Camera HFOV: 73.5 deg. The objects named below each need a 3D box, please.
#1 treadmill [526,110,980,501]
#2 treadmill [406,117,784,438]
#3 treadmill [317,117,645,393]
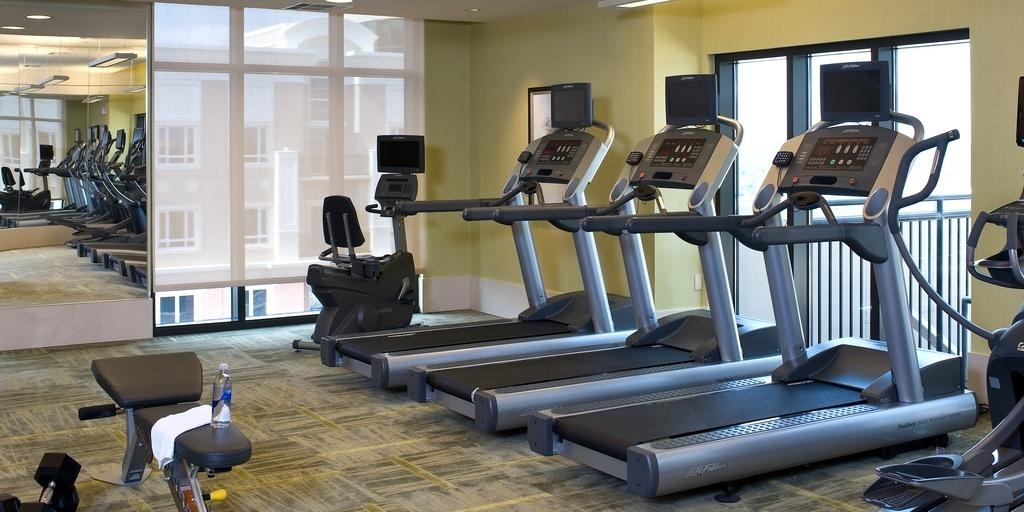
[{"bbox_3d":[2.349,0.485,7.798,5.416,3.528,2.544,-1,3,-28],"label":"treadmill"},{"bbox_3d":[0.953,0.314,7.083,3.748,2.066,1.458,-5,11,-26],"label":"treadmill"},{"bbox_3d":[-0.183,0.052,8.662,5.106,2.984,2.282,0,3,-31],"label":"treadmill"}]
